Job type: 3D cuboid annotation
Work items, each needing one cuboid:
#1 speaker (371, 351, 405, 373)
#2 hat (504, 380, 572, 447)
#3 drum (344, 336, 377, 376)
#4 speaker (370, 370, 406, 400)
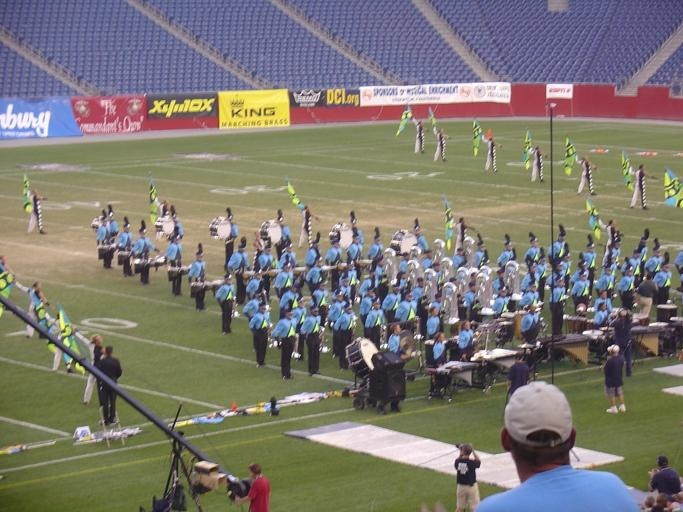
[{"bbox_3d":[1.228,2.855,38.249,0.735,0.500,0.553,3,-12,-40],"label":"speaker"},{"bbox_3d":[3.506,2.777,25.304,0.899,1.246,0.866,-10,17,-31],"label":"hat"},{"bbox_3d":[0.528,2.780,38.971,0.534,0.893,0.912,-24,0,30],"label":"drum"},{"bbox_3d":[1.232,3.391,38.367,0.829,0.797,0.819,-1,2,-44],"label":"speaker"}]
